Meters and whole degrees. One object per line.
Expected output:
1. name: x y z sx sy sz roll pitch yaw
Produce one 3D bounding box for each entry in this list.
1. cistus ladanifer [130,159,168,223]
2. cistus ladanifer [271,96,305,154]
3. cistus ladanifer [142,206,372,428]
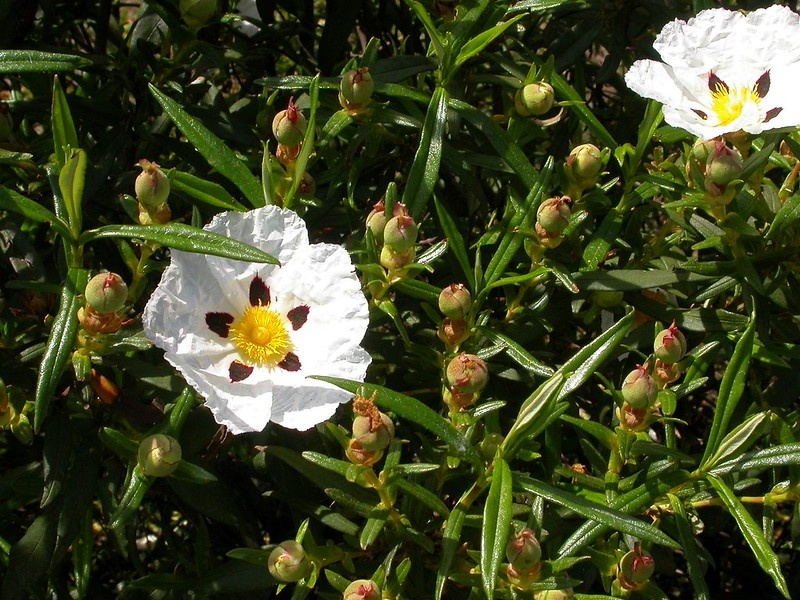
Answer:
1. cistus ladanifer: -0.570 -0.236 1.763 0.076 0.164 0.089 -17 48 -25
2. cistus ladanifer: -0.275 -0.432 1.899 0.073 0.109 0.100 -5 44 -31
3. cistus ladanifer: -0.326 0.034 1.766 0.481 0.304 0.424 -9 47 -34
